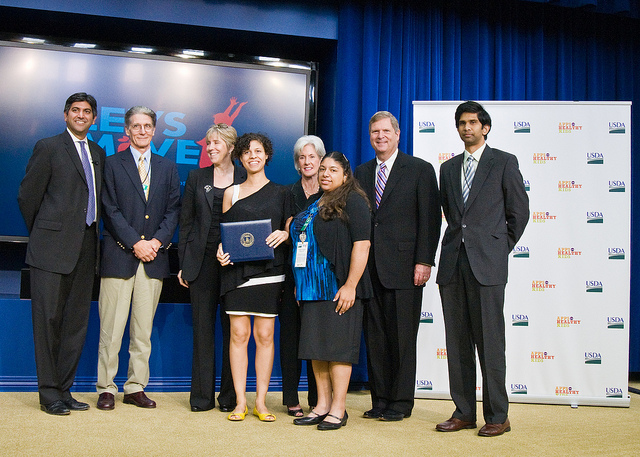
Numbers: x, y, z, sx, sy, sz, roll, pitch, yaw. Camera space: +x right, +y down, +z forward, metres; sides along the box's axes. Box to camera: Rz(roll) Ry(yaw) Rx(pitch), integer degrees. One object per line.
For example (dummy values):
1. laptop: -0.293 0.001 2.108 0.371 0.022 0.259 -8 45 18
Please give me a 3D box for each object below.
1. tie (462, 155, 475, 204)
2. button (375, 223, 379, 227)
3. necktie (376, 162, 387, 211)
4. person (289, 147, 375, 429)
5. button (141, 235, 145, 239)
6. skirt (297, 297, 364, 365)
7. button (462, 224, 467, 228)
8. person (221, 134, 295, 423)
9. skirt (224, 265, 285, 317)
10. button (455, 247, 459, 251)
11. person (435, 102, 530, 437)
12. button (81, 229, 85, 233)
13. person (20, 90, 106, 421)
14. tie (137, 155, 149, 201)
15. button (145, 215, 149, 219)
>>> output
1. tie: 1.105 -0.372 4.047 0.090 0.325 0.051 -3 -15 38
2. button: 0.436 -0.031 4.183 0.028 0.029 0.007 2 -2 -4
3. necktie: 0.478 -0.343 4.240 0.081 0.350 0.061 1 -2 4
4. person: 0.079 0.429 3.958 0.614 1.979 0.292 2 -2 -3
5. button: -1.422 0.065 4.387 0.023 0.024 0.006 4 -11 -16
6. skirt: 0.076 0.678 3.939 0.398 0.471 0.370 1 4 -9
7. button: 1.047 -0.022 3.957 0.031 0.023 0.010 2 -2 -3
8. person: -0.469 0.353 4.097 0.550 2.122 0.320 2 -2 -8
9. skirt: -0.486 0.453 4.071 0.434 0.382 0.139 2 -2 -12
10. button: 0.991 0.143 3.963 0.029 0.027 0.009 6 10 29
11. person: 1.180 0.272 4.006 0.638 2.371 0.289 1 -2 17
12. button: -1.844 0.013 4.252 0.027 0.028 0.007 2 -7 -14
13. person: -1.986 0.166 4.218 0.602 2.435 0.378 2 -2 -28
14. tie: -1.433 -0.420 4.457 0.058 0.419 0.053 -3 -27 -20
15. button: -1.400 -0.099 4.424 0.026 0.026 0.008 4 -3 -6
